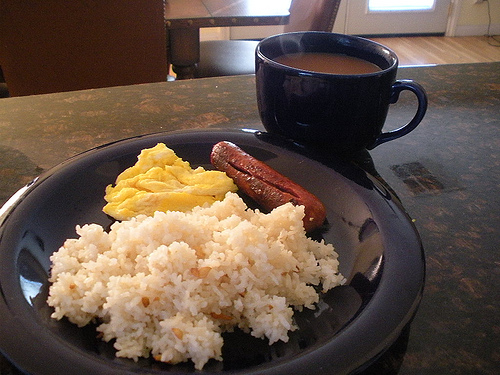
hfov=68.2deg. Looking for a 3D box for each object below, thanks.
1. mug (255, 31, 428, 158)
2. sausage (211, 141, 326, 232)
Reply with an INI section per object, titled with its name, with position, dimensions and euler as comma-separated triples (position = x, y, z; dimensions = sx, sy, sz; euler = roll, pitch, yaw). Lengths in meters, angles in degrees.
[mug]
position = 0.188, -0.208, 0.826
dimensions = 0.358, 0.220, 0.284
euler = 10, 39, 13
[sausage]
position = 0.026, -0.005, 0.712
dimensions = 0.057, 0.075, 0.279
euler = -26, 44, -31
